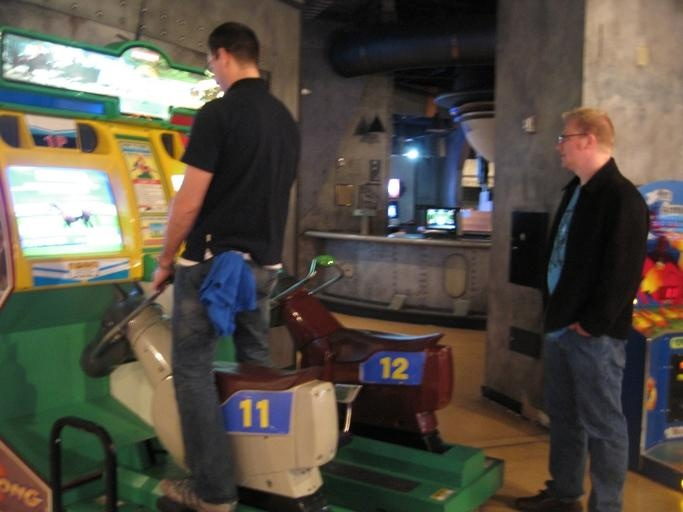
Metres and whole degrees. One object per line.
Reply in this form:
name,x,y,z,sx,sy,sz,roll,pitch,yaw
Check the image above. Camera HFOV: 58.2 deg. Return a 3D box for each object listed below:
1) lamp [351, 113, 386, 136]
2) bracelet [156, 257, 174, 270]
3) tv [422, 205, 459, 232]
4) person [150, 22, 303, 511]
lamp,0.419,-1.940,9.082,0.455,0.293,0.182,4,9,23
bracelet,-0.768,0.029,2.668,0.061,0.037,0.056,2,4,-5
tv,1.437,-0.553,9.054,0.715,0.449,0.390,4,4,35
person,-0.521,0.030,2.663,0.429,2.073,0.543,5,10,31
